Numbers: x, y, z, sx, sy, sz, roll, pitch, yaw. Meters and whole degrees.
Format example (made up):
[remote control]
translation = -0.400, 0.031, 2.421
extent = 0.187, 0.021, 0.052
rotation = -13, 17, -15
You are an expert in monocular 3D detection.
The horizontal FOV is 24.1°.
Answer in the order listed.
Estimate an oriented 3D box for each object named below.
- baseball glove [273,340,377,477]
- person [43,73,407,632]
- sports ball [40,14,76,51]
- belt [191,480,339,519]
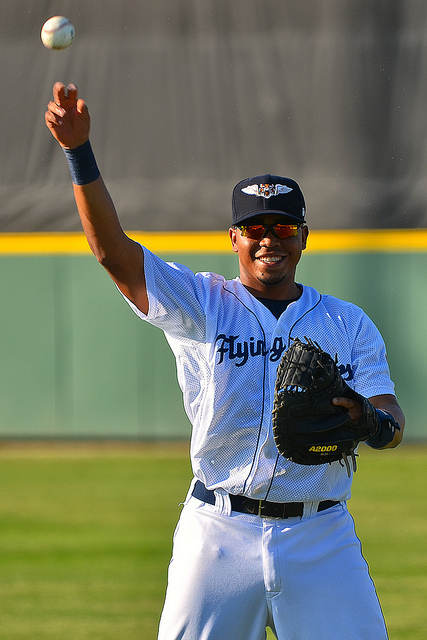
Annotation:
[baseball glove]
translation = 0.286, 0.266, 2.766
extent = 0.306, 0.207, 0.427
rotation = 15, 34, 12
[person]
translation = 0.082, 0.087, 2.815
extent = 0.902, 1.431, 0.647
rotation = 3, 10, 10
[sports ball]
translation = -0.515, -0.952, 3.296
extent = 0.097, 0.113, 0.145
rotation = -1, 10, -12
[belt]
translation = 0.139, 0.500, 2.770
extent = 0.398, 0.066, 0.100
rotation = 2, 10, 4
